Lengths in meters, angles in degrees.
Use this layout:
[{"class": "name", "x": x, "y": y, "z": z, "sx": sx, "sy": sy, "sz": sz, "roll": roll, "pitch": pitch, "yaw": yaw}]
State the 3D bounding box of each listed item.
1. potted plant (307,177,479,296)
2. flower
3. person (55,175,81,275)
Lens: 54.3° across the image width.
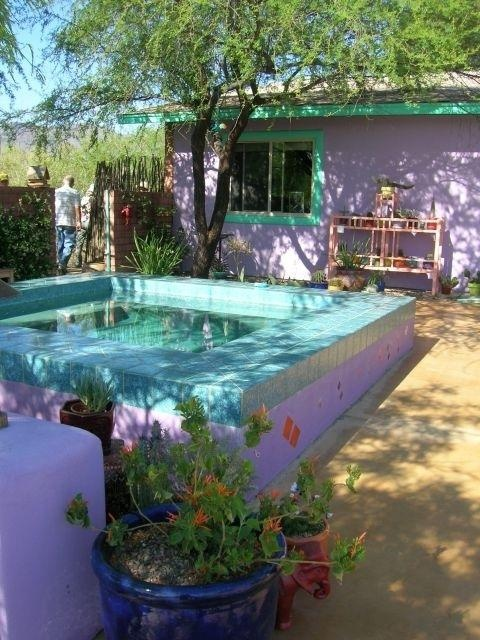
[{"class": "potted plant", "x": 2.989, "y": -1.681, "z": 9.339, "sx": 2.318, "sy": 2.061, "sz": 1.265, "roll": 8, "pitch": 11, "yaw": 16}, {"class": "flower", "x": -0.119, "y": 0.582, "z": 1.650, "sx": 0.896, "sy": 0.420, "sz": 0.637, "roll": 6, "pitch": 10, "yaw": 7}, {"class": "person", "x": -3.484, "y": -1.904, "z": 9.423, "sx": 0.455, "sy": 1.886, "sz": 0.578, "roll": 1, "pitch": 11, "yaw": -17}]
